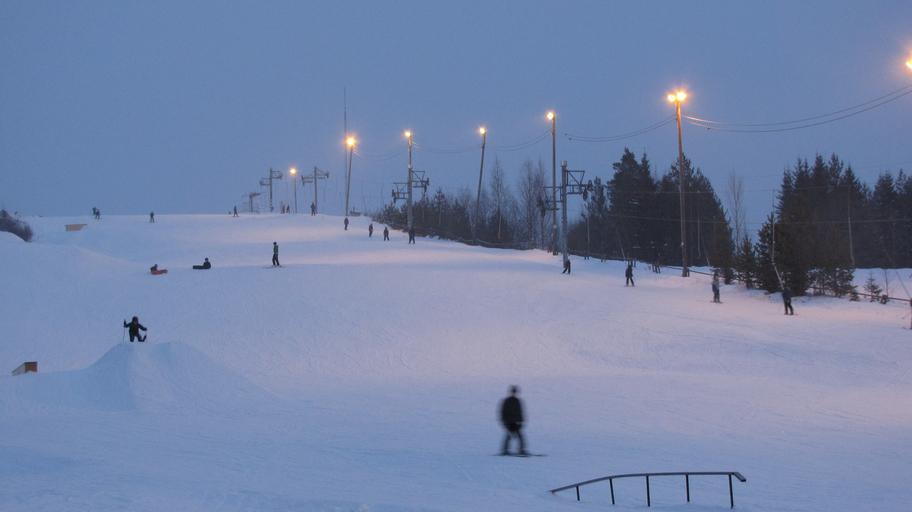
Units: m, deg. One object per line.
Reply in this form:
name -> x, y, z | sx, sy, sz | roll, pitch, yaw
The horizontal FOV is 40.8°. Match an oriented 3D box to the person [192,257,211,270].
person -> -20.899, 0.606, 99.474 | 1.218, 0.912, 0.614 | 7, -8, 5

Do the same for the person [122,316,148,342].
person -> -22.032, 5.028, 83.175 | 1.541, 2.076, 0.818 | -2, 7, -20

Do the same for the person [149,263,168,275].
person -> -23.139, 0.984, 93.800 | 0.866, 0.799, 1.579 | -1, -2, -16
